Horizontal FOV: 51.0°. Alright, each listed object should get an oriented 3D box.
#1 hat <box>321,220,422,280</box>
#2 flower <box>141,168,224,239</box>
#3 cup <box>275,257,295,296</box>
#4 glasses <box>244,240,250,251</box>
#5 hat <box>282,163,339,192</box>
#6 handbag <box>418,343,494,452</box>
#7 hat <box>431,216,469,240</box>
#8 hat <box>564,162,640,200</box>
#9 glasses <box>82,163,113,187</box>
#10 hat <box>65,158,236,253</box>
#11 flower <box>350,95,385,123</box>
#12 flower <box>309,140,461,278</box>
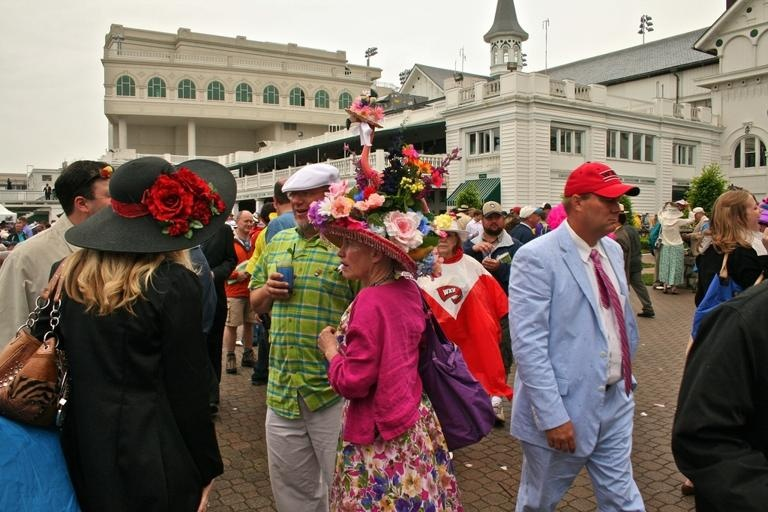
[{"bbox_3d":[-0.088,-0.094,5.533,0.507,0.123,0.402,29,1,-26],"label":"hat"},{"bbox_3d":[-1.299,-0.422,5.500,0.468,0.173,0.470,23,29,-20],"label":"flower"},{"bbox_3d":[-0.773,0.168,6.266,0.118,0.252,0.071,-1,6,-1],"label":"cup"},{"bbox_3d":[-1.884,-0.139,11.105,0.085,0.116,0.041,-5,-23,-22],"label":"glasses"},{"bbox_3d":[-0.579,-0.626,6.495,0.332,0.119,0.259,-7,5,-31],"label":"hat"},{"bbox_3d":[0.506,0.975,5.661,0.495,0.727,0.254,1,6,15],"label":"handbag"},{"bbox_3d":[0.556,-0.229,6.834,0.277,0.084,0.281,0,-22,25],"label":"hat"},{"bbox_3d":[1.647,-0.570,6.128,0.470,0.257,0.292,-5,0,33],"label":"hat"},{"bbox_3d":[-2.193,-0.638,6.242,0.210,0.071,0.206,-10,12,19],"label":"glasses"},{"bbox_3d":[-1.558,-0.417,5.331,0.785,0.298,0.882,3,30,13],"label":"hat"},{"bbox_3d":[-0.144,-1.093,6.048,0.286,0.224,0.232,-2,6,-9],"label":"flower"},{"bbox_3d":[0.004,-0.295,5.615,0.942,0.682,0.933,-1,14,-5],"label":"flower"}]
